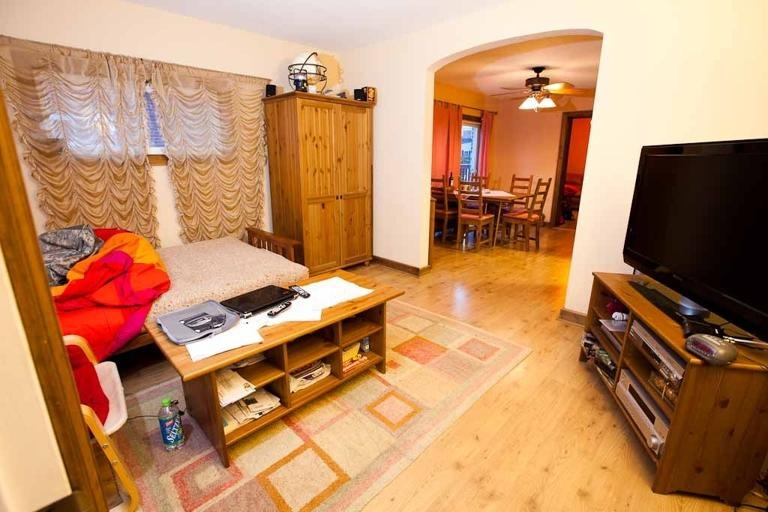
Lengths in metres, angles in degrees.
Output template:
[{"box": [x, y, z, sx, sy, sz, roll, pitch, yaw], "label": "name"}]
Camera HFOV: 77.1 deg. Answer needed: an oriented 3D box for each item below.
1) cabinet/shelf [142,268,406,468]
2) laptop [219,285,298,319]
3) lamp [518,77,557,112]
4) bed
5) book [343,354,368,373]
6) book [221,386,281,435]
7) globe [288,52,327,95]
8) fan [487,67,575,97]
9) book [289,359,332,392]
[{"box": [-0.866, 0.862, 3.637, 2.064, 0.949, 1.028, -24, 39, -33], "label": "cabinet/shelf"}, {"box": [-0.870, 0.306, 3.353, 0.277, 0.054, 0.274, -15, 23, -39], "label": "laptop"}, {"box": [2.027, -2.061, 6.324, 0.594, 0.384, 0.601, 5, 27, 15], "label": "lamp"}, {"box": [-1.657, 0.167, 3.784, 1.386, 0.545, 1.118, -17, 33, -35], "label": "bed"}, {"box": [-0.210, 0.786, 3.516, 0.131, 0.031, 0.098, -12, 21, -34], "label": "book"}, {"box": [-0.869, 1.010, 3.144, 0.233, 0.054, 0.230, -17, 23, -38], "label": "book"}, {"box": [-0.793, -1.904, 5.026, 0.386, 0.392, 0.376, -3, 9, -29], "label": "globe"}, {"box": [2.017, -2.143, 6.066, 0.650, 0.254, 0.636, 3, 20, 4], "label": "fan"}, {"box": [-0.523, 0.835, 3.372, 0.218, 0.065, 0.159, -16, 24, -36], "label": "book"}]
